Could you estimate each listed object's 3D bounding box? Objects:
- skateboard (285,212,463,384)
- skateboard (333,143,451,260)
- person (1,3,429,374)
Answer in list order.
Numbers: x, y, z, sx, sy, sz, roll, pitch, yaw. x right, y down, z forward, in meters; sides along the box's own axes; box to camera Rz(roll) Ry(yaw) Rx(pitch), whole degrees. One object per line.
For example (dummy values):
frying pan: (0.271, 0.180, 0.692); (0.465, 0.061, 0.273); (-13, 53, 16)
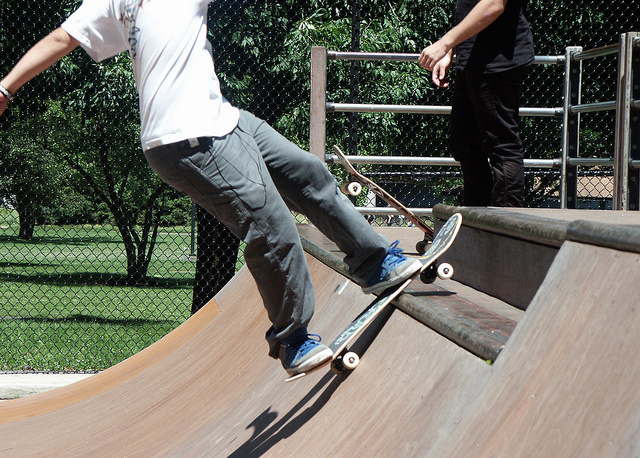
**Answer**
skateboard: (0.254, 0.343, 3.317); (0.921, 0.128, 0.185); (-51, 6, -8)
skateboard: (0.576, -0.295, 5.741); (0.265, 1.560, 0.421); (-42, 13, -6)
person: (-0.359, -0.174, 3.295); (1.449, 1.840, 0.694); (9, 35, 34)
